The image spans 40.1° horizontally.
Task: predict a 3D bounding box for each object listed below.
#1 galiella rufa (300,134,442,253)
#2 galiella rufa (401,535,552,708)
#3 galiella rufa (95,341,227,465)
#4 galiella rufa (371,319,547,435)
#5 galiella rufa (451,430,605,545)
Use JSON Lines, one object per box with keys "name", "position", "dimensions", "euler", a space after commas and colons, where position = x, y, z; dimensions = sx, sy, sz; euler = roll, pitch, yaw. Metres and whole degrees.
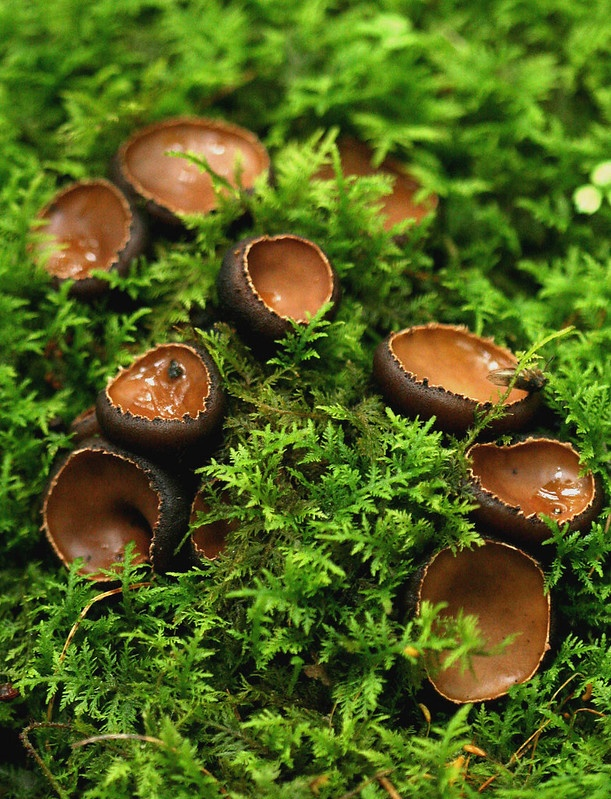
{"name": "galiella rufa", "position": [0.295, -0.797, 3.348], "dimensions": [0.559, 0.131, 0.321], "euler": [41, 71, -3]}
{"name": "galiella rufa", "position": [0.606, 0.712, 2.799], "dimensions": [0.533, 0.190, 0.469], "euler": [-5, 79, -2]}
{"name": "galiella rufa", "position": [-0.550, -0.003, 2.929], "dimensions": [0.359, 0.385, 0.159], "euler": [-45, 91, 2]}
{"name": "galiella rufa", "position": [0.478, -0.070, 2.823], "dimensions": [0.506, 0.180, 0.429], "euler": [15, 37, 6]}
{"name": "galiella rufa", "position": [0.710, 0.276, 2.748], "dimensions": [0.482, 0.166, 0.395], "euler": [23, 47, 35]}
